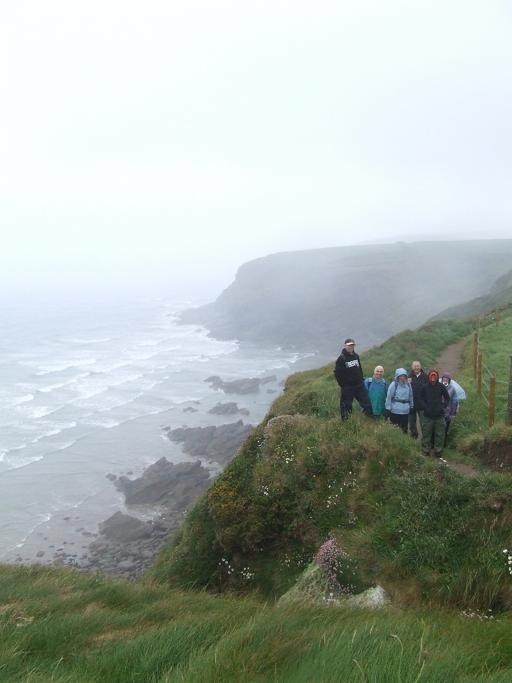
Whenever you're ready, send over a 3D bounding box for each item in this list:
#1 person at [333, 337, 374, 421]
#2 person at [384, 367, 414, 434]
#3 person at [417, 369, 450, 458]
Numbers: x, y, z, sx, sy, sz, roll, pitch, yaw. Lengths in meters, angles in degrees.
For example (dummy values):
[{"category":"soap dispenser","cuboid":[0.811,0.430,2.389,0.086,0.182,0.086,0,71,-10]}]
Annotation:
[{"category":"person","cuboid":[2.302,0.969,13.481,0.890,2.179,0.584,-6,17,1]},{"category":"person","cuboid":[3.218,1.383,12.861,0.666,1.398,0.936,-10,-12,11]},{"category":"person","cuboid":[3.862,1.617,12.504,0.717,1.862,0.761,-15,-13,29]}]
